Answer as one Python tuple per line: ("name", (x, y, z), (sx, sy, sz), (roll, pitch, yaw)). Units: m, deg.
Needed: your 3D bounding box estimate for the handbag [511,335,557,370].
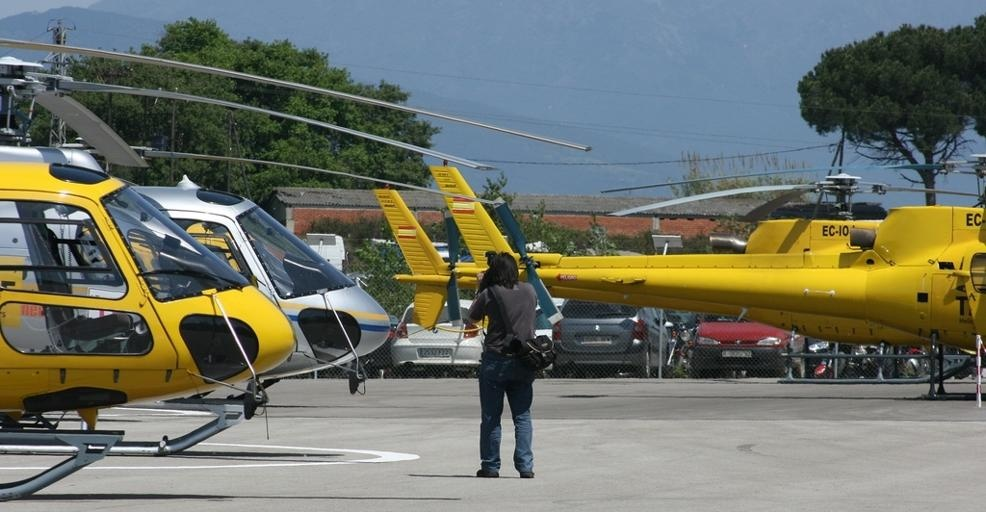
("handbag", (1.476, 3.163, 55.528), (1.626, 1.078, 1.159), (-10, 0, 26))
